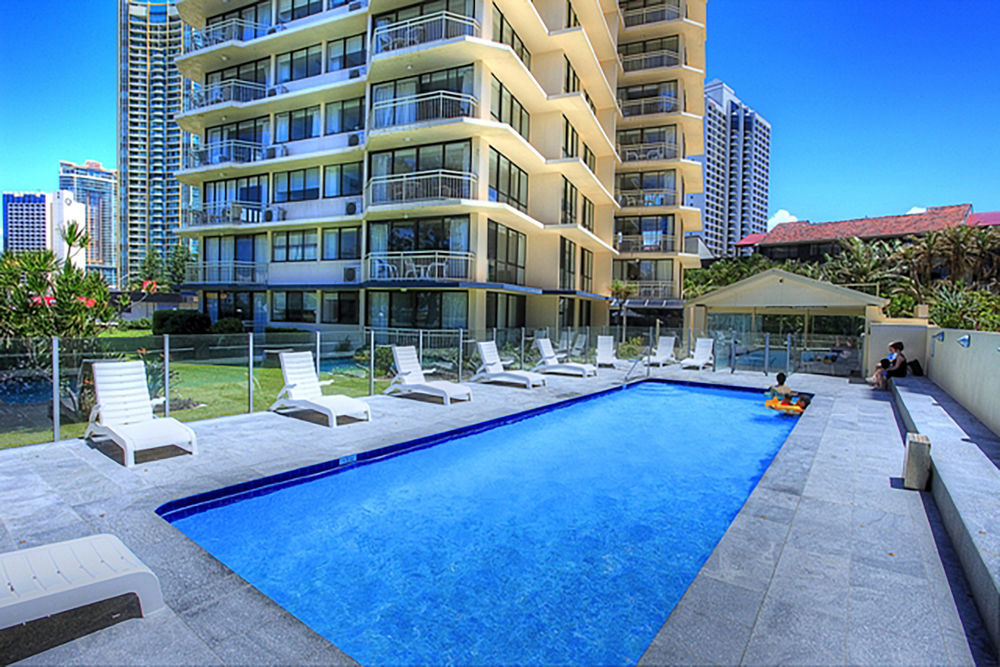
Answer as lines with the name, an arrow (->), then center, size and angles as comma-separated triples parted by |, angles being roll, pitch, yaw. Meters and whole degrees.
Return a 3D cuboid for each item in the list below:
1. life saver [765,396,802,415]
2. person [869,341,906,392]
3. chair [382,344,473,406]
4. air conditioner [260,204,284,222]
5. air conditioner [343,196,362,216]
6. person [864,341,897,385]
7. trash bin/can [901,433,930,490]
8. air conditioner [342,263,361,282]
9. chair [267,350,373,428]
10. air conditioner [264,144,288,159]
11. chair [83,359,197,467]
life saver -> 8.165, 1.927, 17.200 | 0.979, 0.470, 0.970 | -1, 2, 33
person -> 13.059, 0.921, 20.111 | 0.895, 1.461, 2.325 | 0, 2, 32
chair -> -2.032, 1.048, 16.684 | 2.174, 1.345, 1.395 | 6, 4, 35
air conditioner -> -11.258, -5.894, 29.576 | 1.033, 1.049, 0.784 | 3, 3, 38
air conditioner -> -6.880, -5.887, 27.562 | 0.973, 0.996, 0.519 | 0, 3, 40
person -> 13.239, 0.921, 20.761 | 0.934, 1.509, 0.640 | 18, -21, 31
trash bin/can -> 7.422, 2.224, 10.687 | 0.387, 0.928, 0.460 | 0, 3, 37
air conditioner -> -6.860, -2.799, 27.539 | 0.833, 0.863, 0.845 | 2, 3, 39
chair -> -4.198, 1.201, 14.260 | 2.316, 1.567, 1.479 | 6, 6, 37
air conditioner -> -11.011, -8.919, 29.393 | 1.069, 1.078, 0.588 | 1, 2, 29
chair -> -7.020, 1.318, 11.966 | 1.484, 1.842, 2.469 | -3, 8, -44
